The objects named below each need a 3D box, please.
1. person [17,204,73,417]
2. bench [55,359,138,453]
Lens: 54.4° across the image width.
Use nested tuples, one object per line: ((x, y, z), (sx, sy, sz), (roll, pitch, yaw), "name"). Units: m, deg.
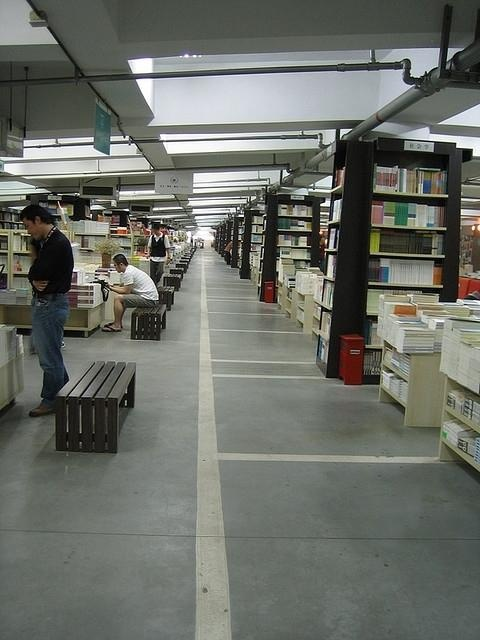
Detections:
((-1.609, -0.065, 3.967), (0.424, 1.782, 0.410), (4, 7, 21), "person")
((-1.112, 0.678, 3.623), (0.471, 0.421, 0.892), (1, 8, -5), "bench")
